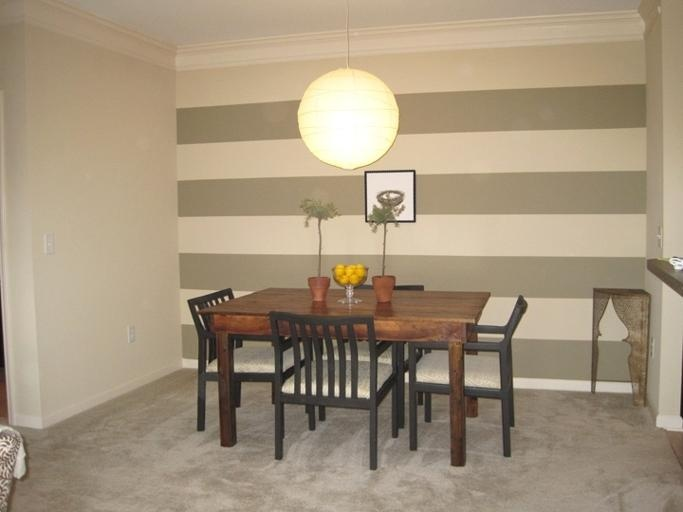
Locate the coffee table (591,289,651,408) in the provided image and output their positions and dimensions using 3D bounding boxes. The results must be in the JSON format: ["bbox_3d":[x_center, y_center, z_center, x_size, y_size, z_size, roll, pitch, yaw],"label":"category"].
[{"bbox_3d":[2.301,0.724,4.488,0.479,0.902,0.339,7,13,36],"label":"coffee table"}]

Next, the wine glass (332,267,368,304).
[{"bbox_3d":[0.062,0.209,3.942,0.237,0.299,0.254,0,-4,2],"label":"wine glass"}]

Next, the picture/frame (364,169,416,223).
[{"bbox_3d":[0.448,-0.541,4.776,0.507,0.581,0.019,0,2,10],"label":"picture/frame"}]

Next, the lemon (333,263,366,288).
[{"bbox_3d":[0.077,0.136,3.868,0.166,0.125,0.180,-1,-2,32],"label":"lemon"}]

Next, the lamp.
[{"bbox_3d":[0.043,-0.922,3.366,0.581,1.620,0.599,0,4,-9],"label":"lamp"}]

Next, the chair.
[{"bbox_3d":[0.077,0.789,3.938,1.940,0.963,0.866,1,10,11],"label":"chair"}]
